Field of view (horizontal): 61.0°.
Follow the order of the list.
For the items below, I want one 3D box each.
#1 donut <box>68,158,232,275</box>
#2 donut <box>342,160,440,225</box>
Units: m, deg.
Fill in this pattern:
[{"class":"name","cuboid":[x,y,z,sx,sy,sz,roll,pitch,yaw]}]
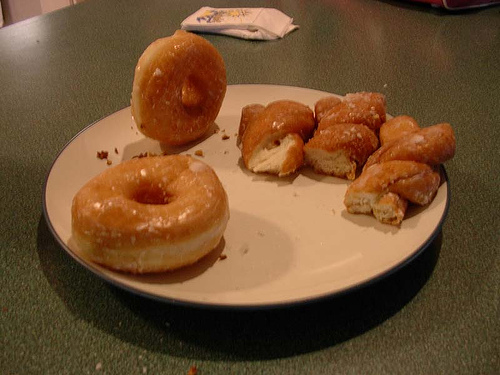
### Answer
[{"class":"donut","cuboid":[-0.225,0.069,0.998,0.354,0.162,0.260,-6,45,-1]},{"class":"donut","cuboid":[0.386,-0.026,1.142,0.203,0.097,0.290,5,33,36]}]
